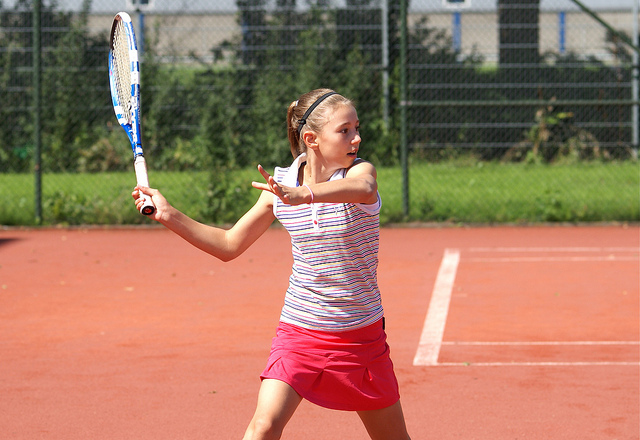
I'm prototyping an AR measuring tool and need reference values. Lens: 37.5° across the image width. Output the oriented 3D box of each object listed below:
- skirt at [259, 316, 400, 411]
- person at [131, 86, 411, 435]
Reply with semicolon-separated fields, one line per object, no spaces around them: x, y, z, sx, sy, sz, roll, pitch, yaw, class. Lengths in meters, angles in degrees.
0.071;0.965;6.362;0.916;0.604;0.236;1;7;-5;skirt
-0.125;0.281;6.370;1.323;2.286;0.788;-1;7;-21;person
